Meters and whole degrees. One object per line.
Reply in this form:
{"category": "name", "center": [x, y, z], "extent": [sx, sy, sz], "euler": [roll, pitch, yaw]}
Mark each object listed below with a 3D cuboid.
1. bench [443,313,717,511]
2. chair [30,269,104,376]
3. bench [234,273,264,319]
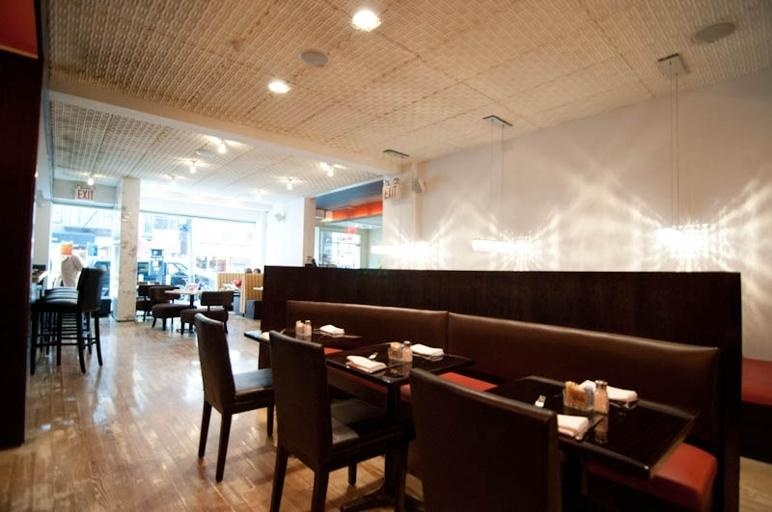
{"category": "bench", "center": [1.841, 1.408, 4.464], "extent": [0.609, 0.905, 1.711], "euler": [4, -2, -43]}
{"category": "chair", "center": [-5.060, 0.995, 8.082], "extent": [0.945, 1.547, 2.043], "euler": [1, -3, -31]}
{"category": "bench", "center": [-3.601, 1.009, 13.439], "extent": [0.561, 1.162, 1.381], "euler": [0, -2, -20]}
